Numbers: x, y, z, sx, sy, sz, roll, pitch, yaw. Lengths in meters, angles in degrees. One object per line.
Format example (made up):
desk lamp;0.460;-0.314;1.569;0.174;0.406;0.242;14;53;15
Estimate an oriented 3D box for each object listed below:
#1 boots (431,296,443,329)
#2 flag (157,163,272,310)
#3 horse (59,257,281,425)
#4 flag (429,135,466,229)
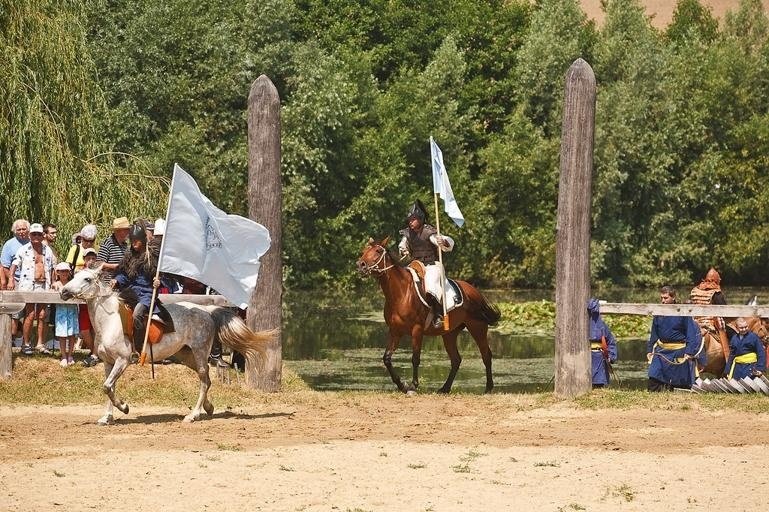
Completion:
boots;1.923;2.051;60.179;0.371;1.031;0.447;-2;-5;2
flag;-6.022;-0.524;59.558;4.879;4.781;0.894;27;-30;-26
horse;-7.093;3.133;56.800;8.026;5.476;1.864;0;-3;-32
flag;2.017;-2.802;60.601;0.338;2.882;0.646;-7;9;40
